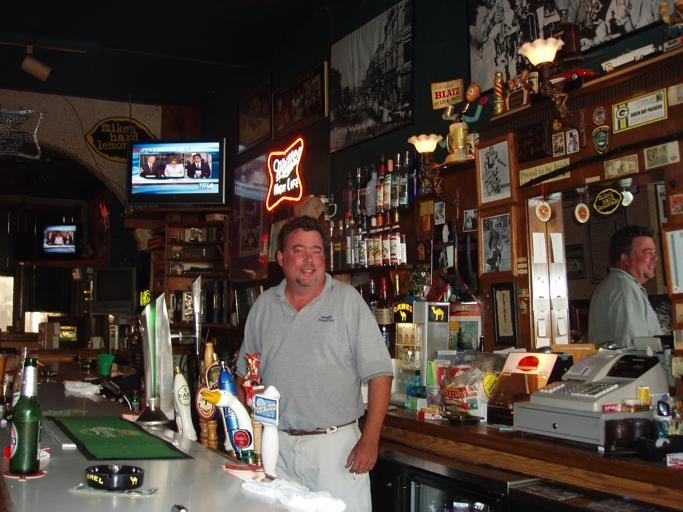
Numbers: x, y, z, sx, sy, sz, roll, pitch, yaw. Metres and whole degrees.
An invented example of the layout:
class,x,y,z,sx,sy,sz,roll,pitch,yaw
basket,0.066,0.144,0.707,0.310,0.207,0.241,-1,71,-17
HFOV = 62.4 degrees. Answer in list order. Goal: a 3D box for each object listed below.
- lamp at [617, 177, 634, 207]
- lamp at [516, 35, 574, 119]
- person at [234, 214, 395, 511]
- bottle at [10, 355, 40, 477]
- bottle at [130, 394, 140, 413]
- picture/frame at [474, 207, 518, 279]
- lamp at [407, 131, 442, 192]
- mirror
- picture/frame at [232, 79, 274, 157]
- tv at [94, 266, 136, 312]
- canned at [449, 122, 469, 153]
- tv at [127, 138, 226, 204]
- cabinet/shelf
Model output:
class,x,y,z,sx,sy,sz,roll,pitch,yaw
lamp,1.498,-0.330,2.970,0.060,0.134,0.138,-6,-7,26
lamp,1.134,-0.957,3.156,0.222,0.452,0.262,-7,-7,31
person,-0.147,0.532,2.878,0.748,1.470,0.331,-7,-7,34
bottle,-1.053,0.531,1.873,0.096,0.374,0.108,-1,-6,-23
bottle,-1.088,0.779,2.986,0.040,0.095,0.065,1,-7,-34
picture/frame,0.980,-0.080,3.559,0.041,0.529,0.460,0,1,-26
lamp,0.634,-0.673,4.152,0.214,0.486,0.428,-5,-6,14
mirror,1.731,-0.126,3.824,0.849,1.955,1.055,-1,3,-3
picture/frame,-1.186,-1.846,7.602,0.050,0.927,1.278,3,-6,-27
tv,-3.906,0.600,9.713,0.698,0.811,0.439,0,-7,-3
canned,0.818,-0.831,3.980,0.140,0.212,0.175,-4,-6,12
tv,-2.085,-1.040,7.150,0.834,0.605,0.092,0,-13,2
cabinet/shelf,-2.155,0.127,7.381,1.973,1.890,0.699,-2,-5,20
